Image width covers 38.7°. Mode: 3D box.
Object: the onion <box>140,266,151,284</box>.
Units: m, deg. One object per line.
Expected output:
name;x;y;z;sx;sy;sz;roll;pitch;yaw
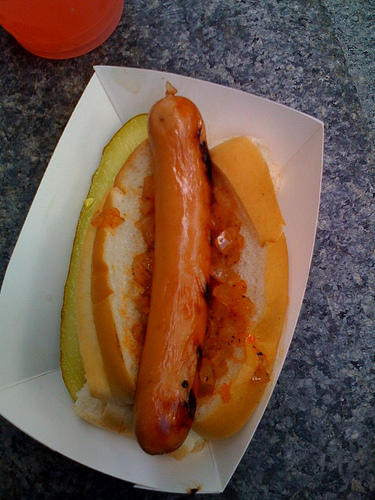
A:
onion;-0.130;0.075;1.652;0.028;0.010;0.047;-18;91;-25

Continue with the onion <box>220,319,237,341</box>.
onion;0.126;0.243;1.625;0.049;0.017;0.065;-2;85;0

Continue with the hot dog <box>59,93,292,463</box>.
hot dog;-0.020;0.025;1.672;0.741;0.309;0.956;3;78;1

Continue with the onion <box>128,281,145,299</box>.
onion;-0.154;0.127;1.635;0.046;0.016;0.049;28;86;3

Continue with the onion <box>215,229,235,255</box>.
onion;0.119;-0.028;1.636;0.067;0.022;0.059;-5;81;2

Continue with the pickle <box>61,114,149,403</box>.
pickle;-0.298;0.008;1.721;0.146;0.082;0.953;13;85;2

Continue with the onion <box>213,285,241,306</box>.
onion;0.118;0.134;1.616;0.072;0.019;0.051;37;86;3

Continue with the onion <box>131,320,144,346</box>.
onion;-0.152;0.249;1.614;0.043;0.016;0.062;1;78;-31

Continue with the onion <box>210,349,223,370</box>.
onion;0.091;0.332;1.627;0.030;0.011;0.065;36;86;3
